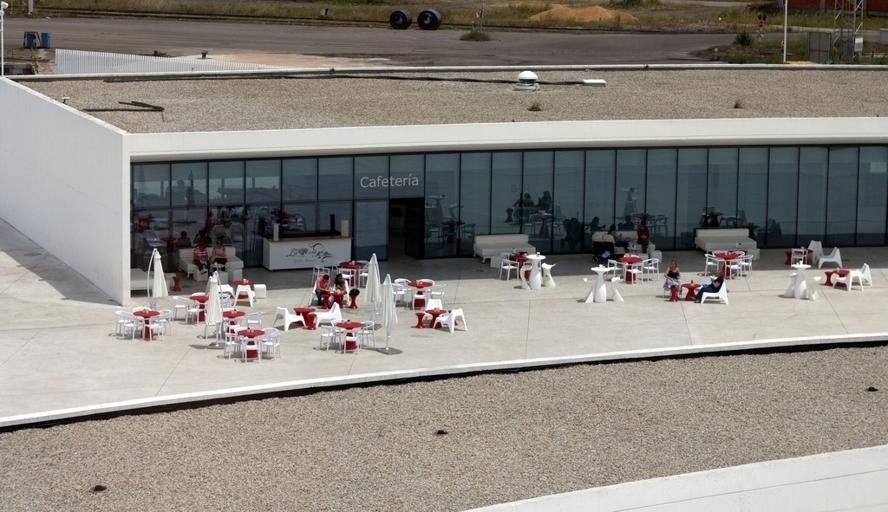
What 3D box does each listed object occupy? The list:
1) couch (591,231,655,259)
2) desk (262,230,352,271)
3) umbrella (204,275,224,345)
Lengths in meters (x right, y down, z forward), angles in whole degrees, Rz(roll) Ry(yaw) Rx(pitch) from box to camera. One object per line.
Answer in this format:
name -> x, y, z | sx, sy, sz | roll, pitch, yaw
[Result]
couch -> 7.097, -0.503, 38.886 | 1.548, 0.920, 1.461 | 5, 18, 15
desk -> -5.440, -0.143, 38.165 | 3.592, 1.318, 1.181 | -2, 8, -26
umbrella -> -7.604, 1.684, 31.257 | 0.639, 2.081, 1.649 | -4, 5, -14
